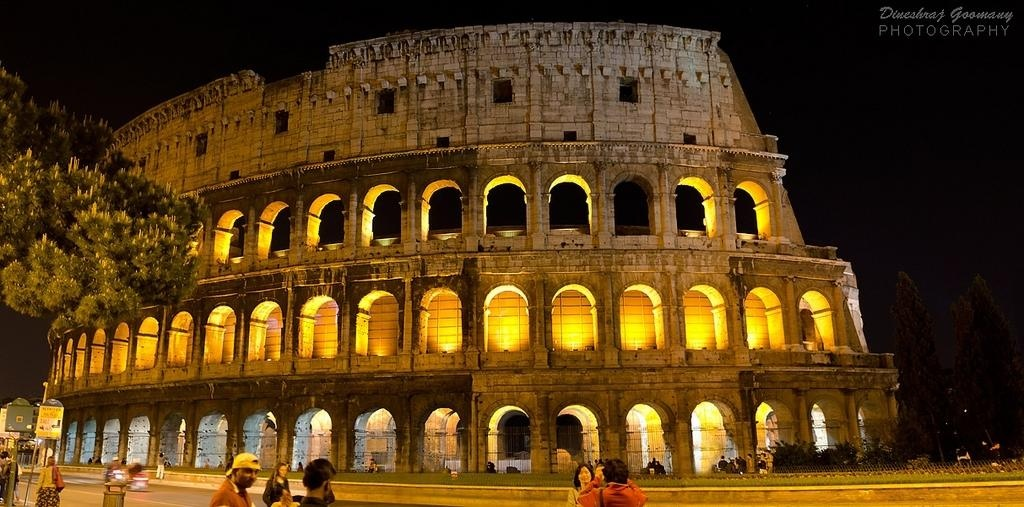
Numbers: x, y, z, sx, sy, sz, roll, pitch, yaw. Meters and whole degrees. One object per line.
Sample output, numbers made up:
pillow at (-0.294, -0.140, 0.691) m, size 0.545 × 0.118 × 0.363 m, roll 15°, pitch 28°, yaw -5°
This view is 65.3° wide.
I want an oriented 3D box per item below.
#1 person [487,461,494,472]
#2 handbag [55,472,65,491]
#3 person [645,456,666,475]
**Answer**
person at (-1.358, 13.281, 49.900) m, size 0.517 × 0.768 × 0.671 m, roll 0°, pitch -25°, yaw 3°
handbag at (-20.407, 10.192, 35.850) m, size 0.391 × 0.774 × 0.526 m, roll 14°, pitch -29°, yaw -24°
person at (8.769, 13.021, 49.010) m, size 1.183 × 0.459 × 1.432 m, roll 1°, pitch -6°, yaw 0°
